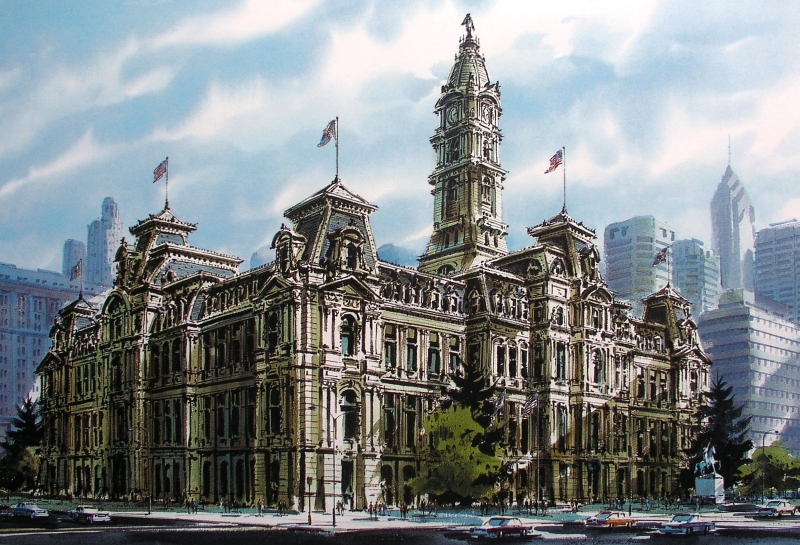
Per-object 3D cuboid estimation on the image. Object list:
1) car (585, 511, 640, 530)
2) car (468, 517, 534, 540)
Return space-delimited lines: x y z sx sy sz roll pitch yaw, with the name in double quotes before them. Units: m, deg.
"car" 26.602 31.224 198.168 4.242 1.208 2.561 1 -3 -20
"car" 12.258 30.774 188.766 4.946 1.438 3.259 1 -3 -27
